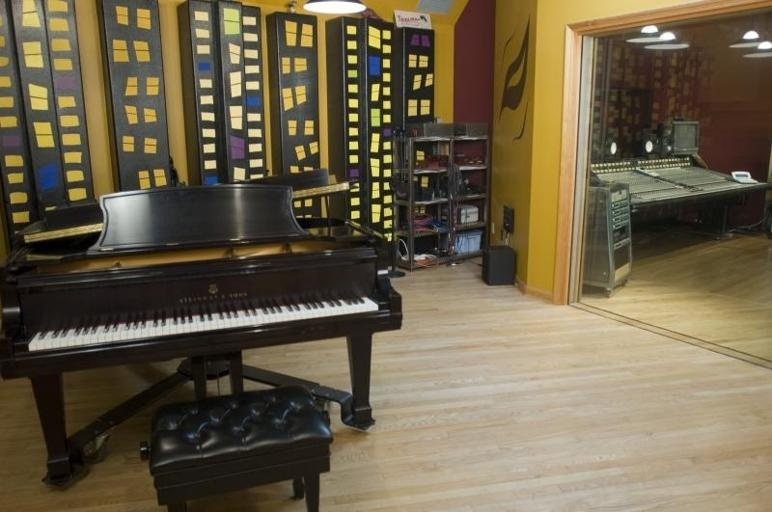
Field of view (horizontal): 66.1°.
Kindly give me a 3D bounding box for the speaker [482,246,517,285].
[{"bbox_3d":[1.346,0.085,7.444,0.499,0.596,0.451,1,18,3],"label":"speaker"}]
